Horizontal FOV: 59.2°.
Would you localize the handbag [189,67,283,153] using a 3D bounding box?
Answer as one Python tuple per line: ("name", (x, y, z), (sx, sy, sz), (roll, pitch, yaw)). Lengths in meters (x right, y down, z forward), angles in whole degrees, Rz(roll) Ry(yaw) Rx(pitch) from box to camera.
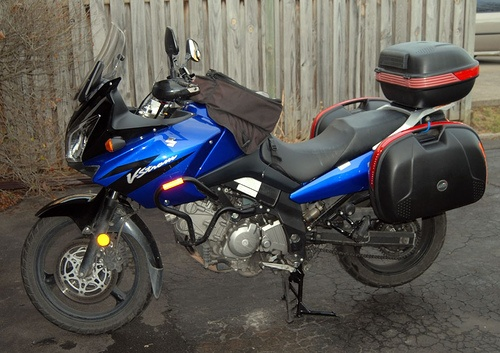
("handbag", (-0.104, -0.507, 3.171), (0.620, 0.489, 0.267), (36, 0, -16))
